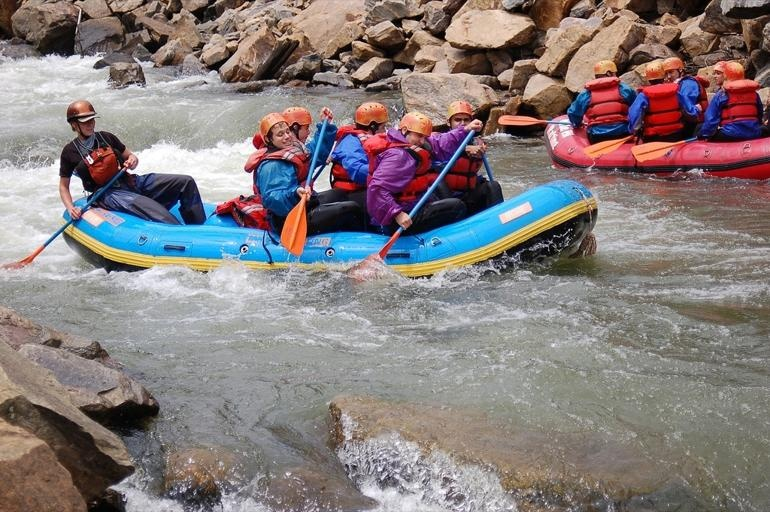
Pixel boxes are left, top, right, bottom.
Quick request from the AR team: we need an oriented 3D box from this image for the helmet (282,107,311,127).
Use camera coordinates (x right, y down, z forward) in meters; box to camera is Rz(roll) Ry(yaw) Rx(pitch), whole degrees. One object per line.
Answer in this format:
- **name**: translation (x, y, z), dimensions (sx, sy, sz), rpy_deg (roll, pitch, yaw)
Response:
- **helmet**: translation (-1.057, -1.681, 9.731), dimensions (0.367, 0.158, 0.235), rpy_deg (3, 8, -7)

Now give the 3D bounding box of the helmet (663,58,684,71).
- **helmet**: translation (4.875, -3.174, 13.276), dimensions (0.414, 0.158, 0.261), rpy_deg (-9, 10, -5)

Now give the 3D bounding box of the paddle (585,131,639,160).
- **paddle**: translation (3.680, -1.771, 13.182), dimensions (1.179, 0.266, 0.120), rpy_deg (-23, -24, -1)

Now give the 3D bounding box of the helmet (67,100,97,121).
- **helmet**: translation (-3.811, -1.758, 9.845), dimensions (0.363, 0.153, 0.272), rpy_deg (-8, 15, 26)

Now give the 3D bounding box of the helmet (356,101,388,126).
- **helmet**: translation (-0.170, -1.725, 9.727), dimensions (0.407, 0.185, 0.261), rpy_deg (1, 9, -11)

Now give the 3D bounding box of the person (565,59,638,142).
- **person**: translation (3.736, -2.658, 13.638), dimensions (1.321, 1.313, 0.906), rpy_deg (-3, 16, 7)

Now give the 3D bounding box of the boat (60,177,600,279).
- **boat**: translation (-0.637, -0.142, 9.492), dimensions (4.898, 0.676, 2.140), rpy_deg (-3, 3, 19)

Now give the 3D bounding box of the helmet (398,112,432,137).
- **helmet**: translation (0.409, -1.521, 9.291), dimensions (0.395, 0.236, 0.263), rpy_deg (11, 8, 4)

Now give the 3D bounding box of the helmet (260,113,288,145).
- **helmet**: translation (-1.374, -1.529, 9.477), dimensions (0.353, 0.359, 0.403), rpy_deg (-9, 24, -20)

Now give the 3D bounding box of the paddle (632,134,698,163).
- **paddle**: translation (4.553, -1.672, 12.816), dimensions (1.374, 0.317, 0.059), rpy_deg (-14, -28, 3)

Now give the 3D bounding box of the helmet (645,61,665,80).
- **helmet**: translation (4.461, -3.017, 13.060), dimensions (0.285, 0.251, 0.349), rpy_deg (-4, 29, 21)

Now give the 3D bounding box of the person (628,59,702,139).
- **person**: translation (4.707, -2.464, 13.112), dimensions (1.232, 1.342, 0.910), rpy_deg (-2, 25, 30)

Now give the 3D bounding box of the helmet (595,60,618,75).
- **helmet**: translation (3.839, -3.173, 13.404), dimensions (0.443, 0.213, 0.314), rpy_deg (-16, 24, -16)
